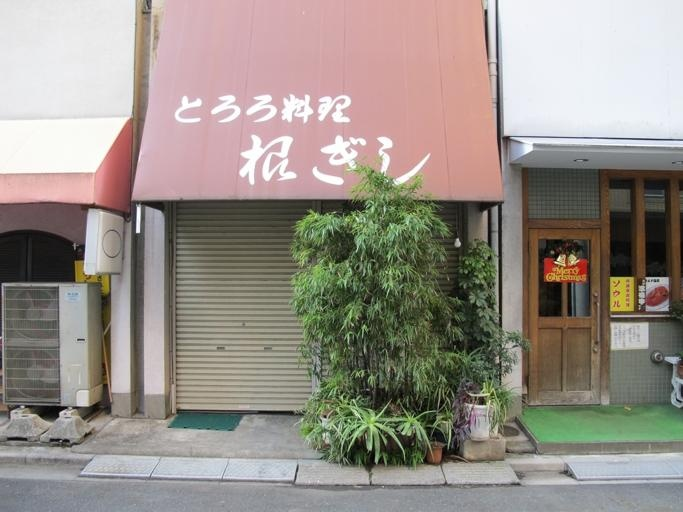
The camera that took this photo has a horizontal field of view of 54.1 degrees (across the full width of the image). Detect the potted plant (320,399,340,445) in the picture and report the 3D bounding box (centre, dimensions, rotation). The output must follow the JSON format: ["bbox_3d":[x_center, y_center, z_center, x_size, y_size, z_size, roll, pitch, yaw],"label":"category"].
[{"bbox_3d":[-0.194,2.525,9.981,0.256,0.727,0.634,0,-4,-1],"label":"potted plant"}]

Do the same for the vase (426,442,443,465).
[{"bbox_3d":[1.365,2.938,9.919,0.261,0.209,0.266,2,-7,-7],"label":"vase"}]

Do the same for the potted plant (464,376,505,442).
[{"bbox_3d":[2.085,2.298,9.909,0.584,0.871,0.249,2,-5,-27],"label":"potted plant"}]
